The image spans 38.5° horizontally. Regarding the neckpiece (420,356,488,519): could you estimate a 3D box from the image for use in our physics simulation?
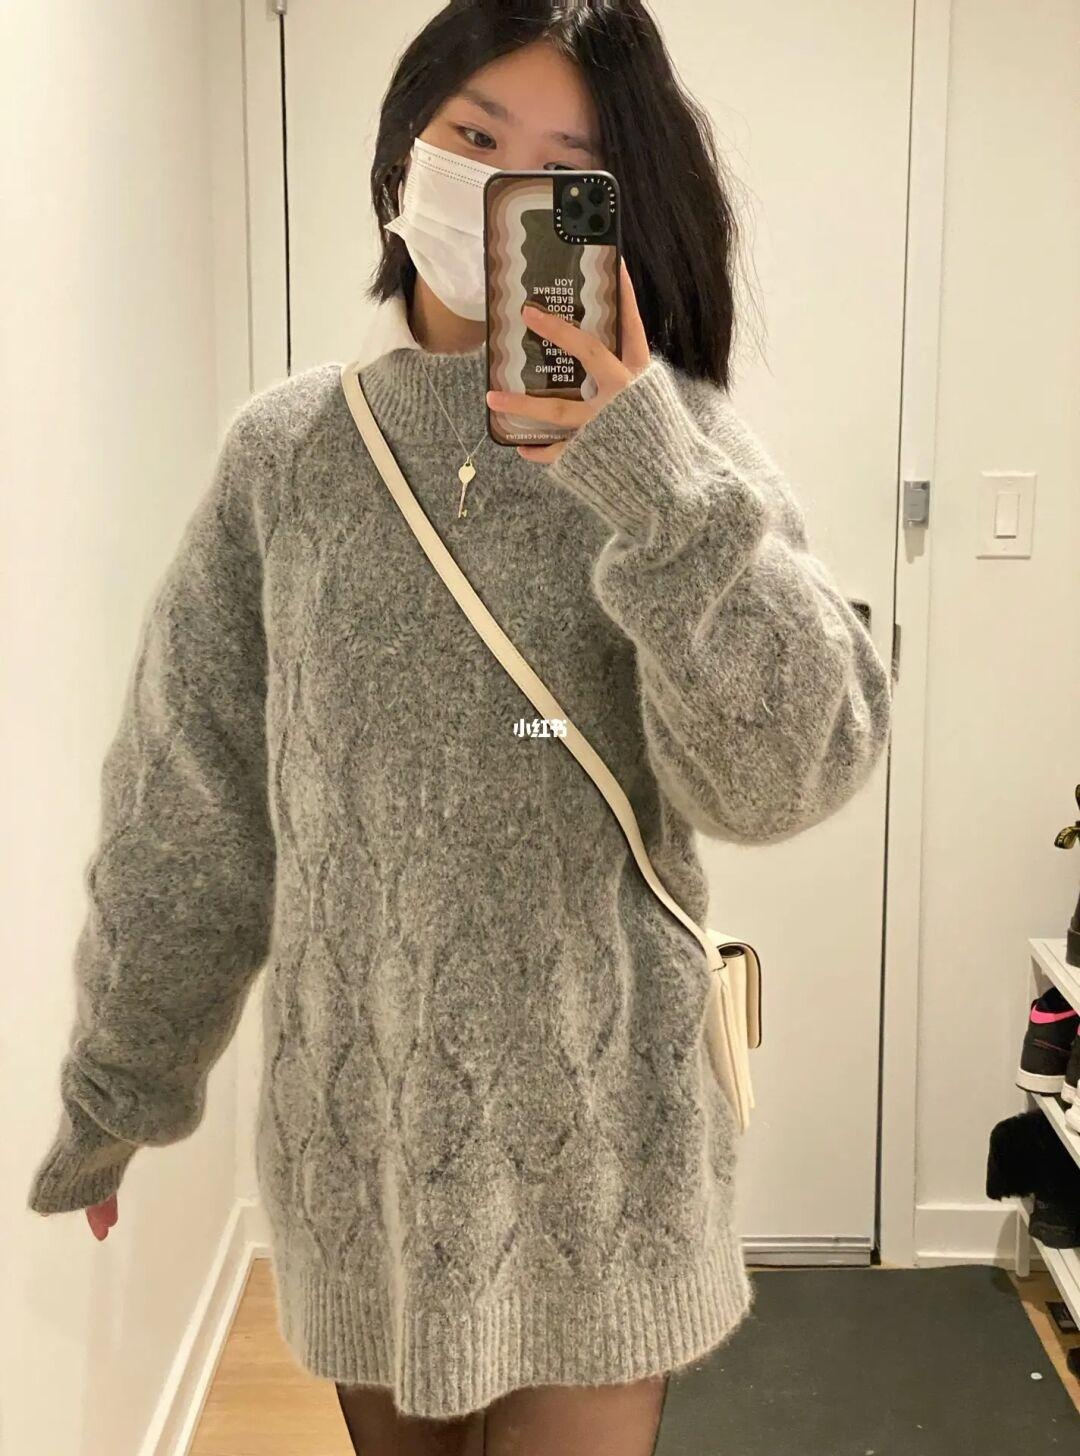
[{"bbox_3d":[-0.050,-0.166,0.883,0.056,0.080,0.010,8,-3,10],"label":"neckpiece"}]

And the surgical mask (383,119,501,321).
[{"bbox_3d":[-0.066,-0.284,0.863,0.078,0.051,0.087,14,32,-27],"label":"surgical mask"}]
